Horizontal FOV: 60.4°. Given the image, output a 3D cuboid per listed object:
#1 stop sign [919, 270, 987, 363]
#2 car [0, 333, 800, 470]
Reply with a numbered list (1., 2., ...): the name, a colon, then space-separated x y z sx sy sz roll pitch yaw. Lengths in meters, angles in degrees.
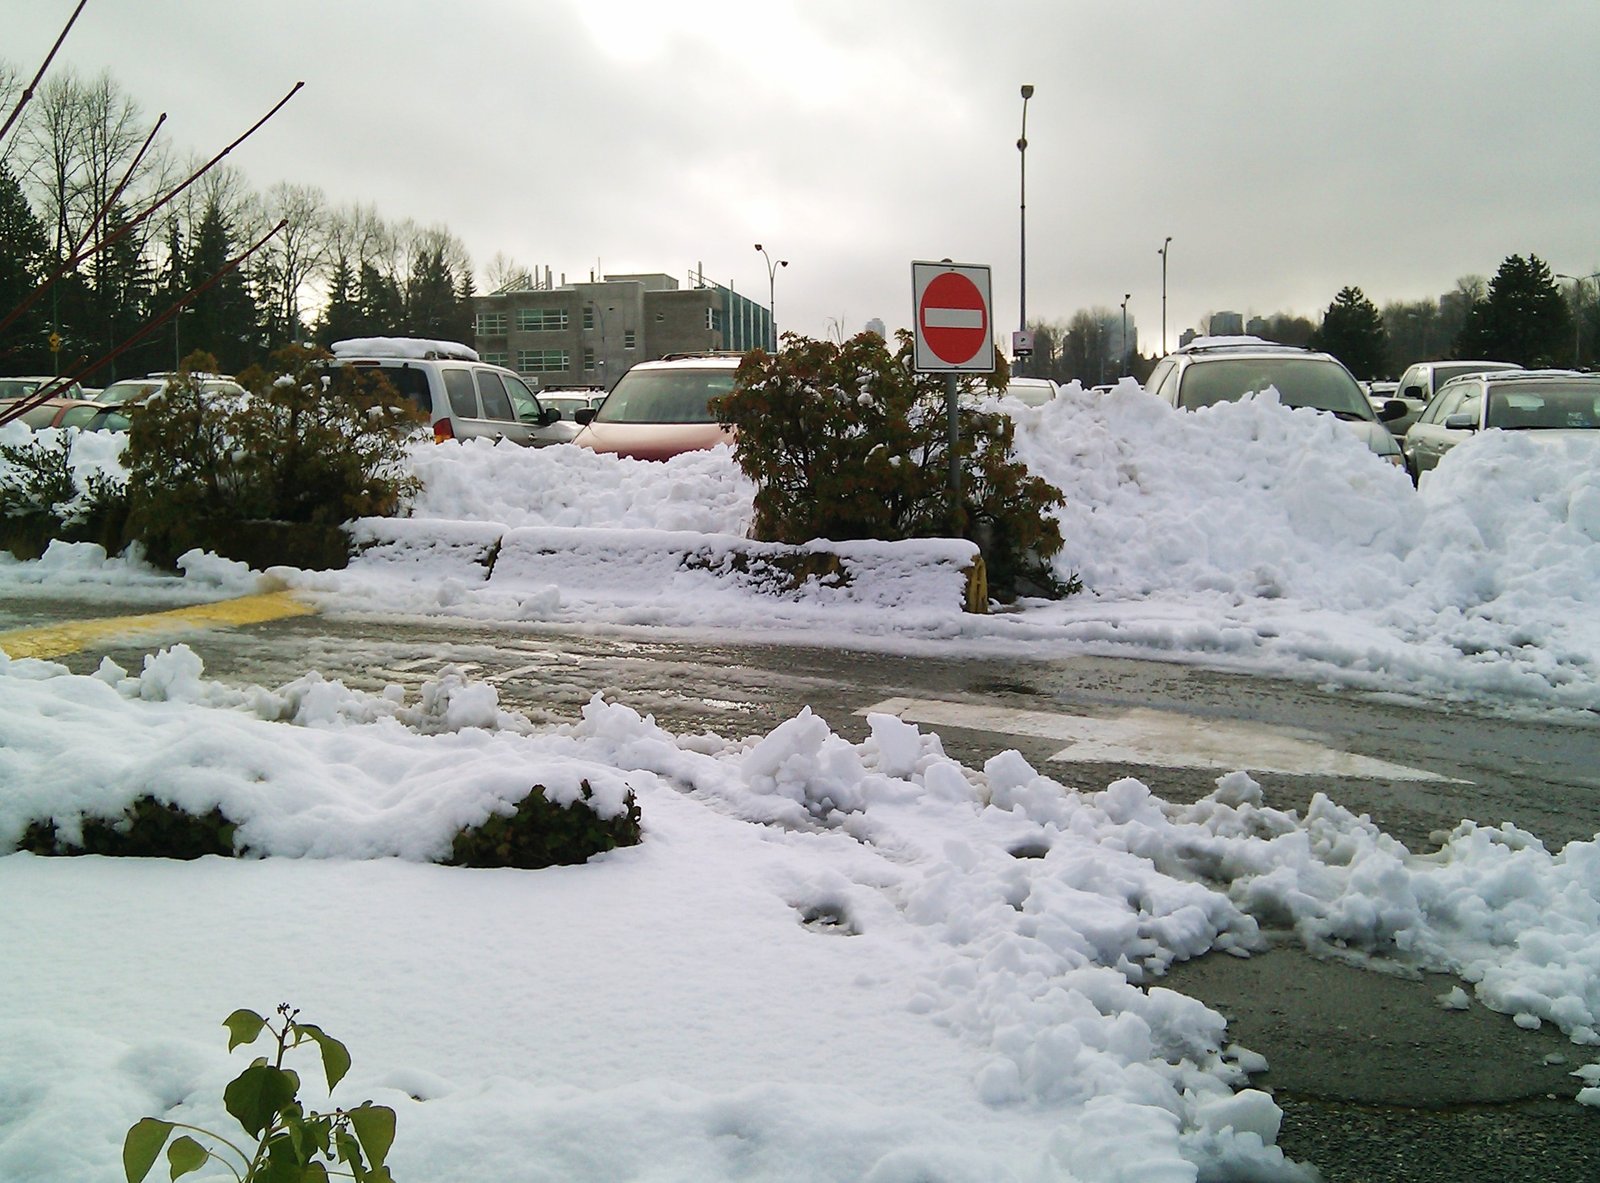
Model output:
1. stop sign: 1.183 -2.189 11.032 0.676 0.947 0.041 -1 -2 -16
2. car: -2.981 -2.155 15.171 3.153 1.192 6.225 -6 12 -41
